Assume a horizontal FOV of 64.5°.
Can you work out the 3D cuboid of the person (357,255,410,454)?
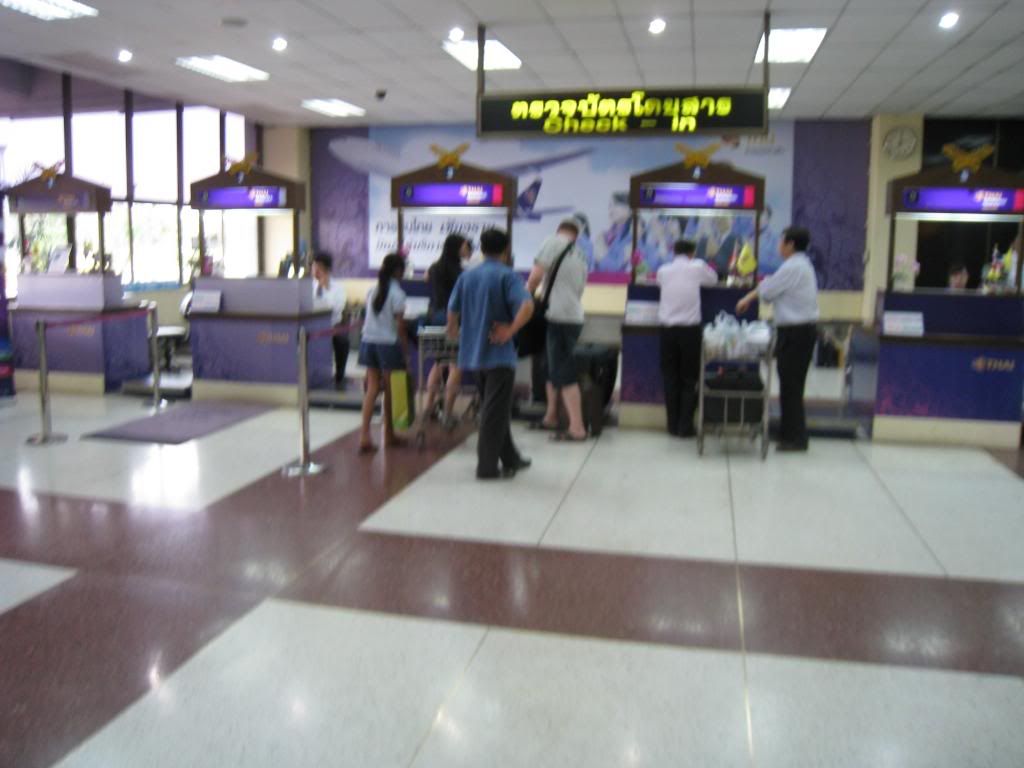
[{"bbox_3d":[-1.042,-0.252,6.438,0.395,1.544,0.429,-1,12,-7],"label":"person"}]

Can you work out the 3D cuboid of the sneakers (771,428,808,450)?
[{"bbox_3d":[2.280,0.448,6.694,0.314,0.253,0.120,3,4,9],"label":"sneakers"}]

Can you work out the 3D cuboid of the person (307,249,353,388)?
[{"bbox_3d":[-2.003,-0.708,9.034,0.449,1.525,0.474,-7,20,3],"label":"person"}]

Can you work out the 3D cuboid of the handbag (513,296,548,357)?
[{"bbox_3d":[0.112,-0.477,7.307,0.368,0.605,0.367,0,17,4],"label":"handbag"}]

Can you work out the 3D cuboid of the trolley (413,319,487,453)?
[{"bbox_3d":[-0.542,0.016,6.974,0.745,1.129,0.860,-1,-1,-32],"label":"trolley"}]

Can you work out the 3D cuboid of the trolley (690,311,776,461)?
[{"bbox_3d":[1.855,0.007,6.698,0.654,1.091,0.732,2,6,-1],"label":"trolley"}]

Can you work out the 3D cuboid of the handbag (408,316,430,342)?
[{"bbox_3d":[-0.887,-0.556,7.723,0.224,0.240,0.188,8,-24,6],"label":"handbag"}]
